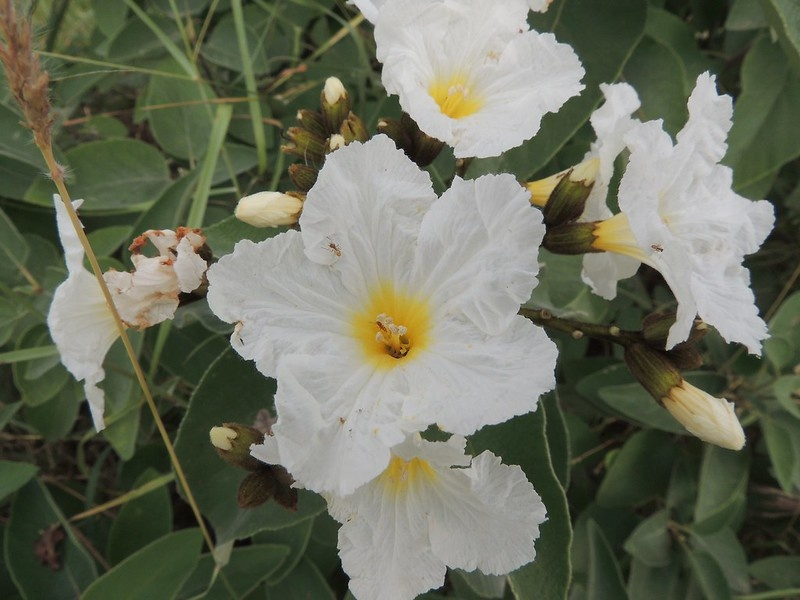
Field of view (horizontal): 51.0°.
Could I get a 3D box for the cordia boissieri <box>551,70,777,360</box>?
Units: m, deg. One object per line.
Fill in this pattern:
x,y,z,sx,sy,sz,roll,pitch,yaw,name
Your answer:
0.846,-0.223,2.470,0.564,0.420,0.814,-7,83,-1,cordia boissieri

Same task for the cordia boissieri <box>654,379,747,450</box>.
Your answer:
0.898,0.343,2.474,0.157,0.085,0.239,-47,65,8,cordia boissieri

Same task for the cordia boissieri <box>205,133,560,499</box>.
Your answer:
-0.034,0.005,2.330,0.929,0.213,0.854,-21,84,-3,cordia boissieri

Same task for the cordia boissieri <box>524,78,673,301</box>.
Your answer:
0.494,-0.322,2.509,0.136,0.438,0.342,30,38,-6,cordia boissieri

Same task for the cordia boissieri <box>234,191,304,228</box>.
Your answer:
-0.380,-0.261,2.461,0.181,0.085,0.113,-1,89,-2,cordia boissieri

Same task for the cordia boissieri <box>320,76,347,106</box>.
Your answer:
-0.214,-0.657,2.661,0.074,0.066,0.092,-26,83,-3,cordia boissieri
